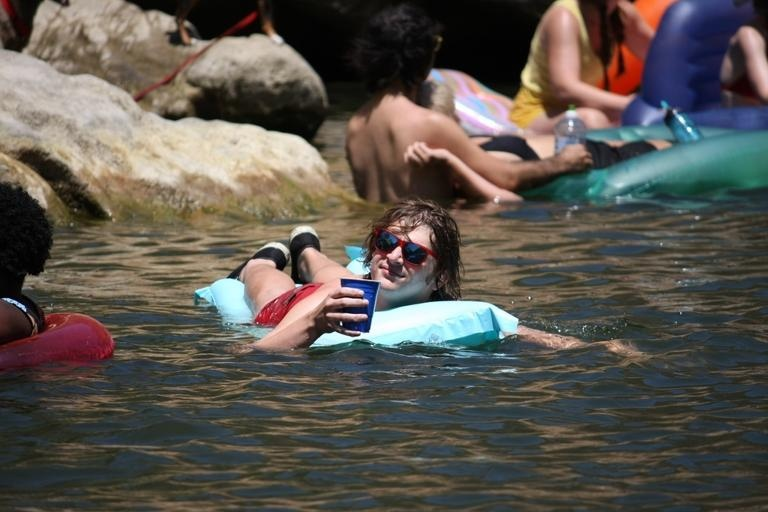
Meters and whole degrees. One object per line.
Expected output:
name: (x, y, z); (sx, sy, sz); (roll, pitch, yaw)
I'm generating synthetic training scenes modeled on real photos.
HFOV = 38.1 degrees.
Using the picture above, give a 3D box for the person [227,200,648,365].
person: (-0.338, 0.122, 7.587); (1.469, 0.596, 1.970); (-7, 14, -36)
